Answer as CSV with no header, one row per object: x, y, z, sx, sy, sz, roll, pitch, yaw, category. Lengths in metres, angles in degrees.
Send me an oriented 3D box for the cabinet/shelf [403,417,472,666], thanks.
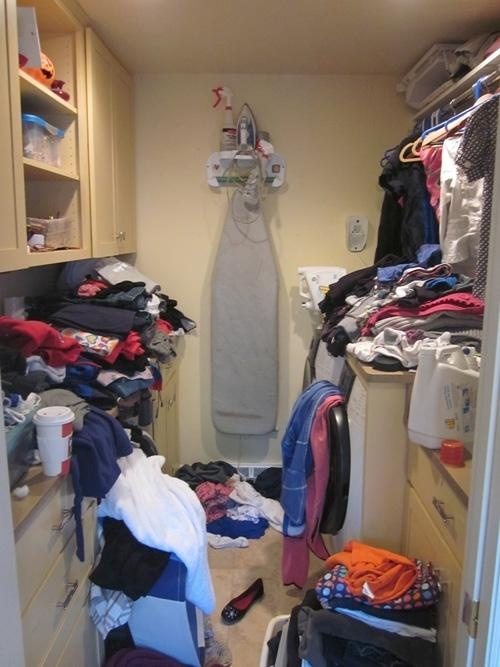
0.463,0.506,1.283,0.120,0.426,0.454,2,6,16,cabinet/shelf

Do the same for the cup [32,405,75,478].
-0.435,0.243,1.180,0.081,0.157,0.147,-1,5,-11,cup

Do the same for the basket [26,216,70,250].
-0.698,-0.350,1.837,0.058,0.121,0.163,7,6,28,basket

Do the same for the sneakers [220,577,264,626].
-0.018,1.013,1.966,0.063,0.069,0.172,9,3,30,sneakers
